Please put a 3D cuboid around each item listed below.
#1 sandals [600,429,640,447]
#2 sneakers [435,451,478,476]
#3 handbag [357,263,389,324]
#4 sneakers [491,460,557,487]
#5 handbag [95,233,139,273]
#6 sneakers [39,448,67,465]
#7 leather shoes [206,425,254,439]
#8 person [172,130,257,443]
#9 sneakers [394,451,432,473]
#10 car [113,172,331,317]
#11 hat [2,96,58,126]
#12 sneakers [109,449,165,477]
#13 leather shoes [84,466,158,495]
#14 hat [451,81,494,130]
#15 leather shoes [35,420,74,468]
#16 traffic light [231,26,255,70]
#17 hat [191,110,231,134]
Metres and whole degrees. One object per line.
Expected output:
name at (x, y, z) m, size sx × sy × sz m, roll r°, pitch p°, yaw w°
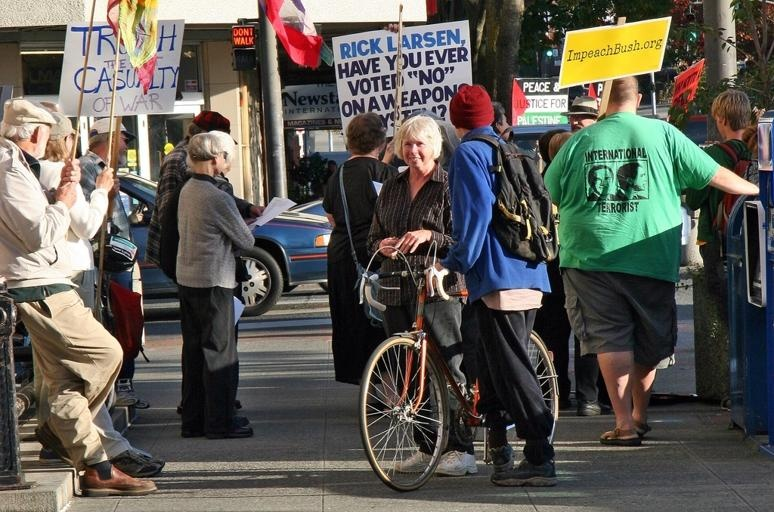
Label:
sandals at (2.081, 1.597, 11.866) m, size 0.301 × 0.127 × 0.157 m, roll 4°, pitch 1°, yaw 35°
sneakers at (0.586, 1.764, 11.282) m, size 0.365 × 0.162 × 0.161 m, roll 4°, pitch -6°, yaw -24°
handbag at (-0.159, 0.351, 11.981) m, size 0.238 × 0.439 × 0.443 m, roll -10°, pitch -20°, yaw -5°
sneakers at (1.147, 1.799, 11.054) m, size 0.579 × 0.242 × 0.204 m, roll 1°, pitch -3°, yaw 1°
handbag at (-2.495, -0.045, 12.433) m, size 0.396 × 0.287 × 0.152 m, roll 0°, pitch 42°, yaw 9°
sneakers at (-2.826, 1.714, 11.368) m, size 0.296 × 0.130 × 0.113 m, roll 2°, pitch -1°, yaw -14°
leather shoes at (-1.466, 1.600, 12.355) m, size 0.426 × 0.187 × 0.150 m, roll -3°, pitch -1°, yaw -11°
person at (-1.611, 0.283, 12.286) m, size 0.726 × 2.772 × 0.517 m, roll -3°, pitch 10°, yaw -7°
sneakers at (0.224, 1.735, 11.145) m, size 0.336 × 0.141 × 0.137 m, roll 2°, pitch -5°, yaw -6°
car at (-2.411, -0.048, 17.884) m, size 3.258 × 1.435 × 1.483 m, roll -5°, pitch 0°, yaw -6°
hat at (-2.921, -1.135, 10.819) m, size 0.291 × 0.136 × 0.281 m, roll -7°, pitch 11°, yaw -42°
sneakers at (-2.115, 1.765, 11.294) m, size 0.414 × 0.175 × 0.195 m, roll 4°, pitch 19°, yaw -18°
leather shoes at (-2.229, 1.875, 11.112) m, size 0.575 × 0.236 × 0.224 m, roll -1°, pitch 0°, yaw -7°
hat at (0.700, -1.243, 11.156) m, size 0.347 × 0.283 × 0.373 m, roll -4°, pitch 15°, yaw -3°
leather shoes at (-2.757, 1.581, 11.206) m, size 0.577 × 0.243 × 0.202 m, roll -3°, pitch -4°, yaw 39°
traffic light at (-2.366, -3.415, 22.052) m, size 0.393 × 0.708 × 0.378 m, roll -3°, pitch 10°, yaw -7°
hat at (-1.707, -1.279, 13.006) m, size 0.226 × 0.126 × 0.313 m, roll 21°, pitch 14°, yaw 35°
